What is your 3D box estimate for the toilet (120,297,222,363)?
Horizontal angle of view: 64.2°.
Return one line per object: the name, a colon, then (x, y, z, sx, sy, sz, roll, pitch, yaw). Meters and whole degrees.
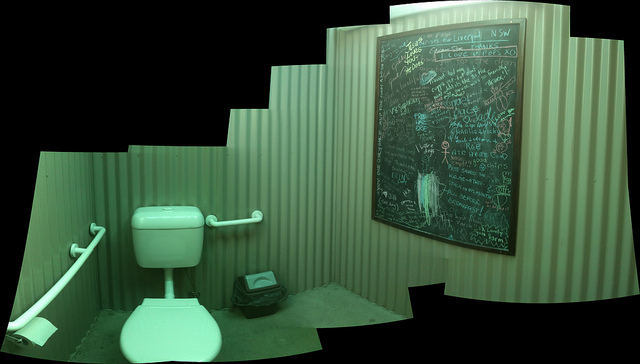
toilet: (-0.818, 0.820, 2.818, 0.520, 0.240, 0.471, -5, 10, -8)
